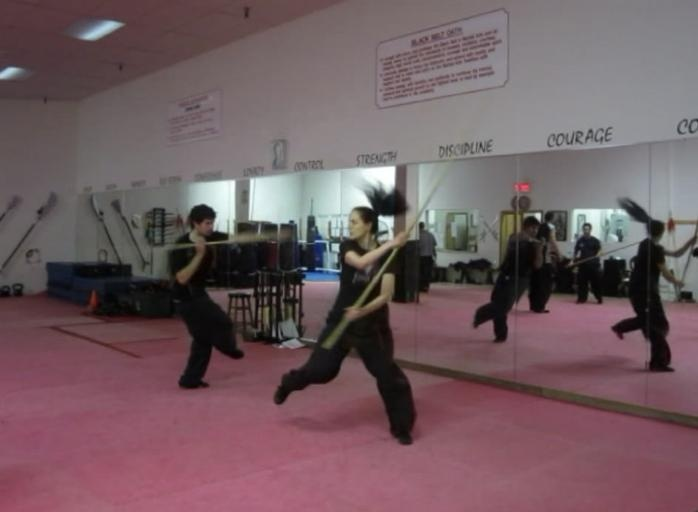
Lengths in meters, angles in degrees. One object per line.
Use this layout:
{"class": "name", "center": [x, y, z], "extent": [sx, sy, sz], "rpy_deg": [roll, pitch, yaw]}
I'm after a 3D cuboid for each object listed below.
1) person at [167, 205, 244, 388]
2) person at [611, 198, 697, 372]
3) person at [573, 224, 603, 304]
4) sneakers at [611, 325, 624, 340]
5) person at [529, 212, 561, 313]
{"class": "person", "center": [-1.573, 0.472, 5.610], "extent": [0.663, 2.051, 0.446], "rpy_deg": [-1, 4, -20]}
{"class": "person", "center": [2.973, 0.280, 5.056], "extent": [0.666, 1.674, 0.160], "rpy_deg": [4, 5, 39]}
{"class": "person", "center": [2.510, 0.080, 5.411], "extent": [0.293, 0.834, 0.108], "rpy_deg": [3, 5, 33]}
{"class": "sneakers", "center": [2.712, 0.764, 5.228], "extent": [0.049, 0.128, 0.114], "rpy_deg": [-6, -6, -35]}
{"class": "person", "center": [2.163, 0.066, 5.696], "extent": [0.319, 1.113, 0.109], "rpy_deg": [3, 4, 29]}
